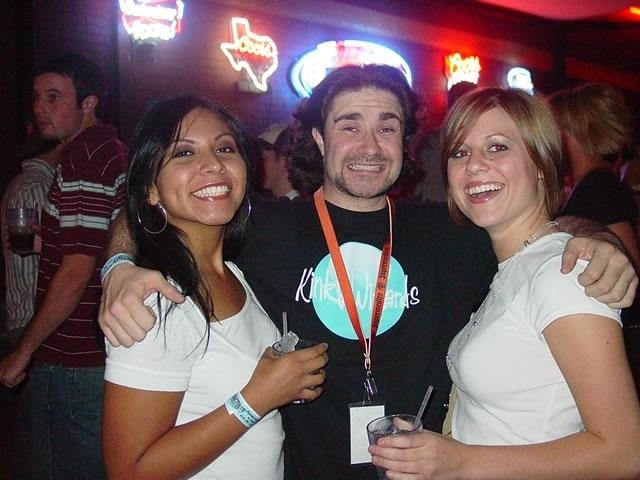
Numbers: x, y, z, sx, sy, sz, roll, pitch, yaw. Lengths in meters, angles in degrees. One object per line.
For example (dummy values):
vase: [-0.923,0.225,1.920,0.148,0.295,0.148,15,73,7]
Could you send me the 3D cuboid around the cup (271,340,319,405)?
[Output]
cup: [-0.097,0.601,2.353,0.211,0.204,0.278,-4,-34,5]
